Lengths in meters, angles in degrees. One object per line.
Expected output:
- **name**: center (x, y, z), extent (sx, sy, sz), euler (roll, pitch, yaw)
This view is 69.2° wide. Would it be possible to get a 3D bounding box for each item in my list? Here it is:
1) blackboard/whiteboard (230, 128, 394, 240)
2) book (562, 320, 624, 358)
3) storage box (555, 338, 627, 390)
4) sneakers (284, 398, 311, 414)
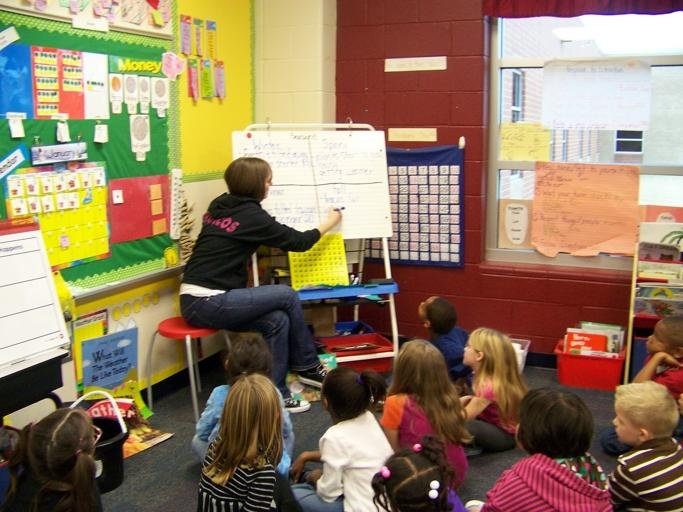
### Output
- **blackboard/whiteboard**: center (-0.221, -0.460, 3.300), extent (0.969, 0.569, 0.016), euler (0, -13, -8)
- **book**: center (1.691, 0.558, 3.330), extent (0.301, 0.085, 0.210), euler (2, 15, 21)
- **storage box**: center (1.670, 0.737, 3.370), extent (0.386, 0.203, 0.265), euler (1, 6, 18)
- **sneakers**: center (-0.271, 0.919, 3.051), extent (0.158, 0.056, 0.075), euler (3, 7, 2)
